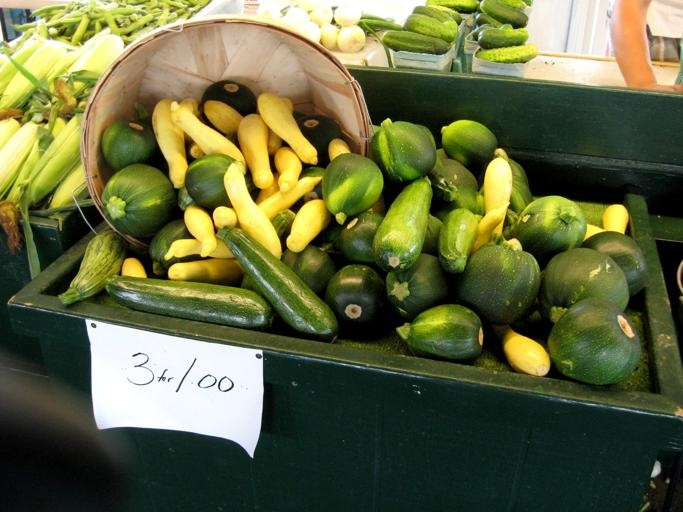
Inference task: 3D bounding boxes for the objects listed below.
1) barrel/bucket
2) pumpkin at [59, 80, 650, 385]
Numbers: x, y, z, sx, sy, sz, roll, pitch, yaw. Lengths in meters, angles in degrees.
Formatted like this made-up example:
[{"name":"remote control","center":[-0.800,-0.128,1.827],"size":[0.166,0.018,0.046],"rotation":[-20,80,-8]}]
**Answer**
[{"name":"barrel/bucket","center":[-0.317,-0.489,1.683],"size":[0.668,0.693,0.264],"rotation":[-49,11,-5]},{"name":"pumpkin","center":[0.031,-0.006,1.553],"size":[1.307,0.707,0.372],"rotation":[9,-6,3]}]
